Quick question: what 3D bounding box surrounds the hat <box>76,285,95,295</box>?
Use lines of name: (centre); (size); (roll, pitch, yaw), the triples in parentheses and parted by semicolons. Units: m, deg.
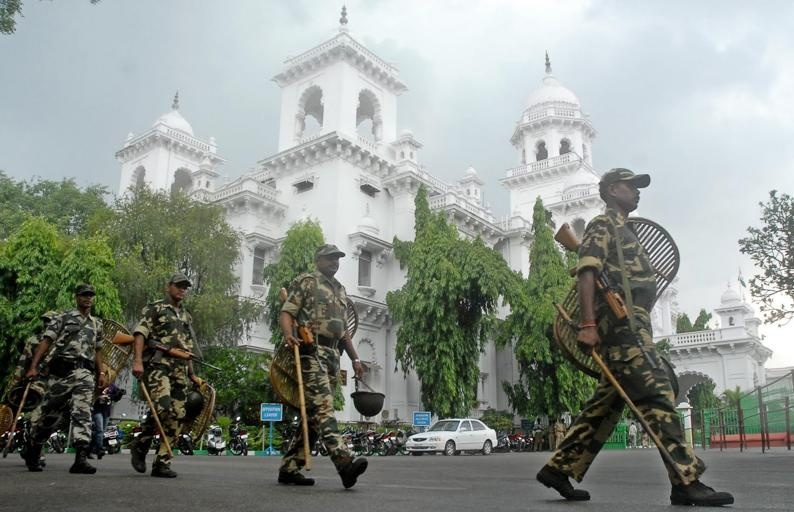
hat: (-5.258, 0.574, 12.385); (0.230, 0.170, 0.305); (9, -26, -33)

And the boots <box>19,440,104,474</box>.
boots: (-5.524, 3.358, 12.126); (1.143, 0.603, 0.583); (2, -30, 6)

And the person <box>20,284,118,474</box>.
person: (-5.456, 2.008, 12.203); (1.149, 3.103, 1.030); (5, -19, -18)

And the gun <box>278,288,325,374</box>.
gun: (-1.440, 1.048, 10.636); (0.538, 1.476, 0.357); (-14, -42, -2)

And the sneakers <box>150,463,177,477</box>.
sneakers: (-3.587, 3.276, 11.327); (0.369, 0.244, 0.152); (2, -19, -9)

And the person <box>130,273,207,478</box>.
person: (-3.703, 1.849, 11.754); (1.079, 3.227, 1.018); (5, -19, -16)

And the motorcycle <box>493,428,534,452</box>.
motorcycle: (5.209, 8.210, 32.890); (1.069, 1.095, 1.960); (-1, -15, 5)

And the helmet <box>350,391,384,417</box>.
helmet: (-0.433, 2.161, 10.845); (0.445, 0.277, 0.434); (1, -20, 9)

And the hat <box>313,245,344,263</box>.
hat: (-1.035, -0.074, 10.854); (0.361, 0.179, 0.267); (-21, -25, 33)

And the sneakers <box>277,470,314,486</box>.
sneakers: (-1.427, 3.188, 10.660); (0.577, 0.235, 0.208); (1, -10, 1)

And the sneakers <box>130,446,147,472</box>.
sneakers: (-4.162, 3.262, 11.866); (0.263, 0.551, 0.189); (-8, -8, 12)

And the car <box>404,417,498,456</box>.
car: (2.105, 6.593, 26.711); (1.402, 1.015, 3.091); (-21, -31, 40)

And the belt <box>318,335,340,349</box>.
belt: (-1.003, 1.238, 10.629); (0.253, 0.090, 0.187); (18, -15, -36)
